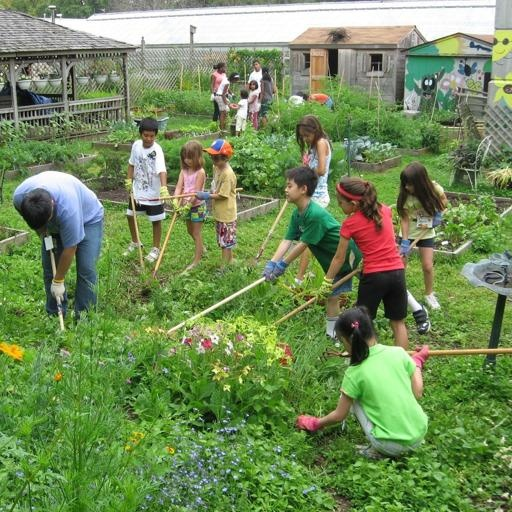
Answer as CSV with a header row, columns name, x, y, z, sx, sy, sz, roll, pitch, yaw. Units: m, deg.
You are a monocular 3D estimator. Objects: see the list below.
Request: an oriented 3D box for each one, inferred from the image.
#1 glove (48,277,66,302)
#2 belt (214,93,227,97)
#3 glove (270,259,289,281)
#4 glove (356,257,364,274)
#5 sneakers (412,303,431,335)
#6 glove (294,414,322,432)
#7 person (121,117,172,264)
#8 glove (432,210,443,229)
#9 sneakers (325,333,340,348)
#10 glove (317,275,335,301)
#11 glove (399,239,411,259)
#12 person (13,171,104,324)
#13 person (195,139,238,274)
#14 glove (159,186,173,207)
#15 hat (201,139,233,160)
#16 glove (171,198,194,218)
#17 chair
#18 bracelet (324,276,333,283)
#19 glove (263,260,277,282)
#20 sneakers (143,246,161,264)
name,x,y,z,sx,sy,sz,roll,pitch,yaw
glove,-1.777,0.291,4.579,0.140,0.211,0.200,0,-12,-5
belt,-0.981,-4.404,14.444,0.184,0.049,0.189,-6,11,-42
glove,0.200,0.120,4.652,0.079,0.243,0.089,40,21,9
glove,0.920,0.097,4.691,0.028,0.117,0.119,24,-25,3
sneakers,1.576,0.609,5.039,0.108,0.130,0.329,-33,15,22
glove,0.347,1.108,3.493,0.144,0.094,0.047,7,7,36
person,-1.399,-0.831,6.604,0.522,1.740,0.909,-1,12,-14
glove,1.866,-0.376,5.405,0.082,0.205,0.382,7,13,21
sneakers,0.688,0.768,4.662,0.076,0.134,0.065,-18,-25,-11
glove,0.551,0.269,4.436,0.127,0.198,0.092,21,31,-42
glove,1.515,-0.081,5.391,0.110,0.148,0.157,-1,-8,3
person,-1.647,-0.003,4.449,0.668,1.378,1.228,-1,12,-17
person,-0.443,-0.611,6.102,0.403,1.427,0.424,4,12,12
glove,-1.210,-0.775,6.978,0.196,0.179,0.528,0,30,-5
hat,-0.445,-1.241,6.099,0.278,0.197,0.524,1,12,-6
glove,-0.931,-0.606,6.560,0.288,0.131,0.300,-17,49,-27
chair,4.337,-1.797,10.283,0.694,1.181,0.649,-5,-8,-3
bracelet,0.602,0.201,4.394,0.048,0.056,0.064,12,53,12
glove,0.124,0.138,4.687,0.052,0.154,0.145,30,-23,-20
sneakers,-1.306,-0.016,6.621,0.089,0.134,0.283,3,17,3
